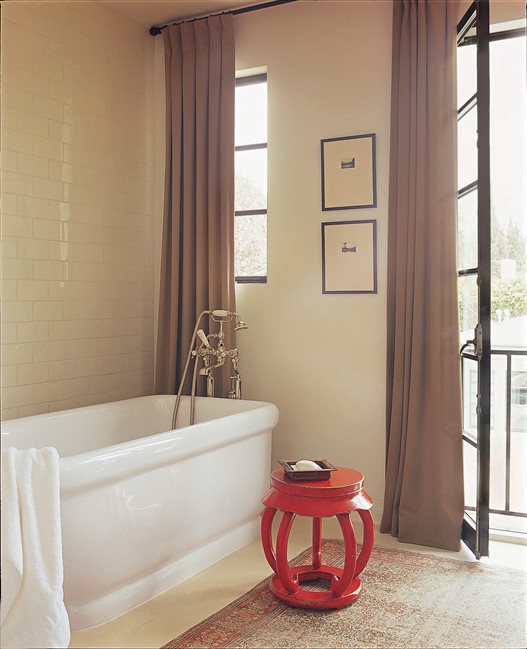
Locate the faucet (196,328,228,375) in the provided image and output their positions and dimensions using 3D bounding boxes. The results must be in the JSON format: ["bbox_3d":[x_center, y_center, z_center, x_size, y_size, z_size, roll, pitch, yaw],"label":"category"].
[{"bbox_3d":[-0.299,0.178,2.933,0.148,0.256,0.057,-3,40,-22],"label":"faucet"}]

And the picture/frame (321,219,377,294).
[{"bbox_3d":[0.480,-0.370,2.818,0.309,0.017,0.507,1,-45,14],"label":"picture/frame"}]

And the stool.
[{"bbox_3d":[0.206,0.765,1.896,0.364,0.517,0.431,0,1,26],"label":"stool"}]

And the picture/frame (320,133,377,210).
[{"bbox_3d":[0.479,-0.864,2.818,0.313,0.518,0.018,-3,-27,13],"label":"picture/frame"}]

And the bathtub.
[{"bbox_3d":[-0.497,0.553,2.106,0.609,0.607,1.069,1,3,31],"label":"bathtub"}]
